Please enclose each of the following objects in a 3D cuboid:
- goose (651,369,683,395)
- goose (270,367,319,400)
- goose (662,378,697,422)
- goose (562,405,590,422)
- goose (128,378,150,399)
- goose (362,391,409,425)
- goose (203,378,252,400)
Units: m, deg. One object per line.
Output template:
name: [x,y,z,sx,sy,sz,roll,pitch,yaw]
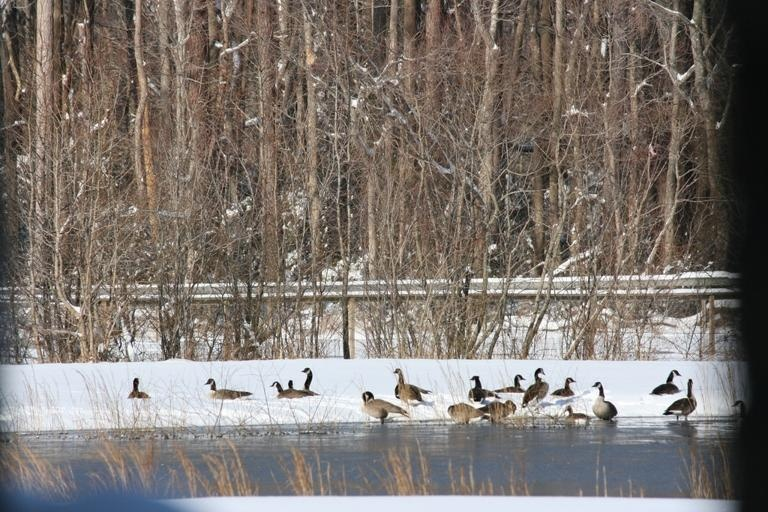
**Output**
goose: [6.460,2.767,35.098,0.621,0.570,0.415,-7,0,-17]
goose: [-2.005,2.801,35.014,1.156,1.077,0.481,0,-15,-1]
goose: [6.754,3.120,34.884,0.844,0.871,0.436,-1,-3,-19]
goose: [4.365,3.446,34.845,0.453,0.389,0.304,-1,-7,13]
goose: [-5.546,2.903,34.995,0.470,0.477,0.256,-2,-3,-11]
goose: [-0.006,3.327,34.879,1.142,0.865,0.521,-1,-15,4]
goose: [-3.560,2.959,35.374,1.084,0.794,0.427,3,-4,-12]
